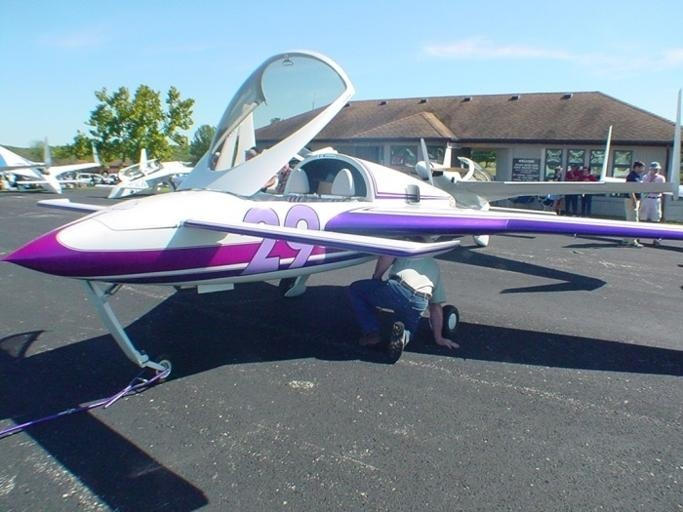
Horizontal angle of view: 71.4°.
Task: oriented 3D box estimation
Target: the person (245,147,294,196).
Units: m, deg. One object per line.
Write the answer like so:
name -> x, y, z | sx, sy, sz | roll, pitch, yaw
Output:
person -> -1.104, -1.206, 6.976 | 0.970, 0.511, 0.259 | 24, -10, 33

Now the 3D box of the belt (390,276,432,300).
belt -> 0.818, 0.371, 5.539 | 0.370, 0.101, 0.293 | 31, -14, 1

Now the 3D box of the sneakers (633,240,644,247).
sneakers -> 7.448, -0.314, 11.836 | 0.226, 0.088, 0.235 | 11, 31, 28

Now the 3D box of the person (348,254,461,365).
person -> 0.793, 0.544, 5.633 | 1.174, 0.655, 1.490 | 2, 13, -23
